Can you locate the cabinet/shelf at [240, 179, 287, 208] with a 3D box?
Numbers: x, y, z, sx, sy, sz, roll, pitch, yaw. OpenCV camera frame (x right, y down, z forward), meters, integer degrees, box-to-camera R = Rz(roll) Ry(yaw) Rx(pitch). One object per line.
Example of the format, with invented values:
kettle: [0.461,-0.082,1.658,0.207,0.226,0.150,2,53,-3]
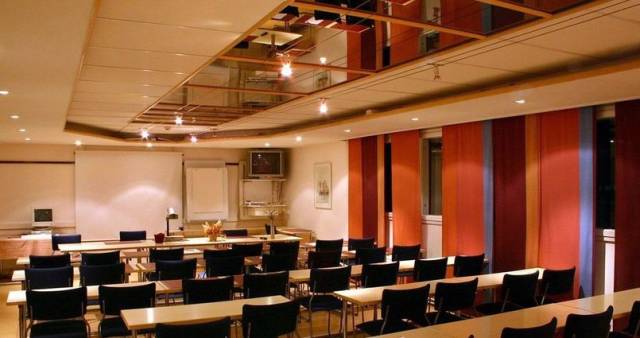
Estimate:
cabinet/shelf: [-2.156,0.808,16.604,2.204,1.101,1.038,0,-1,-30]

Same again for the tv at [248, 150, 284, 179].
tv: [-2.208,-0.099,16.137,0.924,1.051,1.583,-4,-1,41]

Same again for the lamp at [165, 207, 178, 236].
lamp: [-4.663,1.639,14.470,0.570,0.966,1.177,0,-1,-14]

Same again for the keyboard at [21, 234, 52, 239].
keyboard: [-8.064,1.933,13.193,0.505,0.085,0.424,0,-2,27]

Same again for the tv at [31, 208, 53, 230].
tv: [-8.318,1.492,13.854,0.516,0.665,0.437,0,-7,-29]
